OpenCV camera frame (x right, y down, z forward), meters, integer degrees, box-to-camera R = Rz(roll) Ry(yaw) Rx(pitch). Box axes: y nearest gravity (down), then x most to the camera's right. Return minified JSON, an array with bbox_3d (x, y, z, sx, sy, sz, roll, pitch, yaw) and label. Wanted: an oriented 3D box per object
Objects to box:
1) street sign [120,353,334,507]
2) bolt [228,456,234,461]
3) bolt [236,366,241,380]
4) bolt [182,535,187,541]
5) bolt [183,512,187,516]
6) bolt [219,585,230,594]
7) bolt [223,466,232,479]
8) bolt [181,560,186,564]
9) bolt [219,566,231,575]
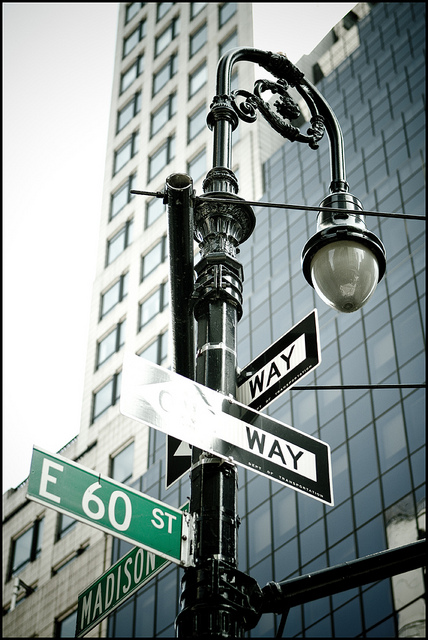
[{"bbox_3d":[0.135,0.739,7.155,1.630,0.583,0.020,25,-54,-19],"label":"street sign"},{"bbox_3d":[0.105,0.885,6.969,0.037,0.038,0.010,16,-42,-17],"label":"bolt"},{"bbox_3d":[0.181,0.401,7.919,0.012,0.052,0.054,20,-67,-18],"label":"bolt"},{"bbox_3d":[-0.189,1.395,6.964,0.033,0.037,0.018,23,-38,-29],"label":"bolt"},{"bbox_3d":[-0.189,1.263,7.075,0.017,0.024,0.005,-7,-40,8],"label":"bolt"},{"bbox_3d":[0.058,1.633,6.573,0.071,0.056,0.007,19,-43,-20],"label":"bolt"},{"bbox_3d":[0.089,0.993,7.089,0.059,0.065,0.013,3,-11,-44],"label":"bolt"},{"bbox_3d":[-0.191,1.522,6.832,0.023,0.026,0.013,10,-16,-28],"label":"bolt"},{"bbox_3d":[0.064,1.535,6.653,0.040,0.062,0.059,-29,-49,33],"label":"bolt"}]
